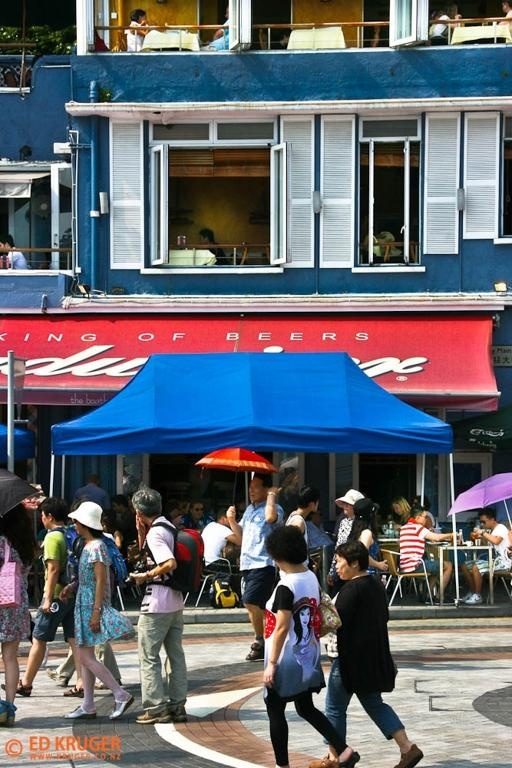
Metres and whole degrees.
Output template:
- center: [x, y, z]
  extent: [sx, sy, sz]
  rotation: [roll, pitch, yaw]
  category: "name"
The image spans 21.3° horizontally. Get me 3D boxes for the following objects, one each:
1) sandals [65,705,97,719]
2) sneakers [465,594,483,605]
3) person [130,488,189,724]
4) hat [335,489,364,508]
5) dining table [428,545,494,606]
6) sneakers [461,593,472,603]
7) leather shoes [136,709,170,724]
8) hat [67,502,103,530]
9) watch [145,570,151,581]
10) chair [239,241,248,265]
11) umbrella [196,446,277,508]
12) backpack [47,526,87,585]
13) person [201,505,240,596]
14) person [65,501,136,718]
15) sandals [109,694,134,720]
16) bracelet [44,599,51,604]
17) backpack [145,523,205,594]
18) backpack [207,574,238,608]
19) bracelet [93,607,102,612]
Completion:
- center: [-1.317, 2.549, 10.323]
  extent: [0.190, 0.078, 0.100]
  rotation: [6, -4, -1]
  category: "sandals"
- center: [2.623, 2.665, 16.385]
  extent: [0.244, 0.113, 0.087]
  rotation: [0, -7, 12]
  category: "sneakers"
- center: [-0.722, 1.703, 10.193]
  extent: [0.413, 1.773, 0.708]
  rotation: [0, -3, -3]
  category: "person"
- center: [0.872, 1.062, 12.209]
  extent: [0.288, 0.163, 0.206]
  rotation: [2, -8, -16]
  category: "hat"
- center: [2.548, 2.423, 16.670]
  extent: [0.665, 0.654, 0.675]
  rotation: [0, -9, 2]
  category: "dining table"
- center: [2.568, 2.675, 16.589]
  extent: [0.119, 0.143, 0.357]
  rotation: [-1, -4, 11]
  category: "sneakers"
- center: [-0.760, 2.535, 10.099]
  extent: [0.240, 0.118, 0.106]
  rotation: [3, -1, 0]
  category: "leather shoes"
- center: [-1.274, 1.028, 10.328]
  extent: [0.228, 0.127, 0.206]
  rotation: [31, 20, 14]
  category: "hat"
- center: [-0.776, 1.427, 9.904]
  extent: [0.042, 0.061, 0.056]
  rotation: [6, -26, 6]
  category: "watch"
- center: [-0.178, -2.008, 20.794]
  extent: [0.116, 0.343, 0.190]
  rotation: [0, -3, -1]
  category: "chair"
- center: [-0.230, 1.031, 15.301]
  extent: [0.525, 0.340, 0.523]
  rotation: [9, -15, -19]
  category: "umbrella"
- center: [-1.498, 1.442, 11.178]
  extent: [0.463, 0.503, 0.382]
  rotation: [-3, -7, 25]
  category: "backpack"
- center: [-0.458, 2.086, 16.478]
  extent: [0.608, 1.055, 0.418]
  rotation: [-7, 15, -30]
  category: "person"
- center: [-1.186, 1.767, 10.371]
  extent: [0.502, 1.674, 0.541]
  rotation: [0, -3, -7]
  category: "person"
- center: [-1.008, 2.536, 10.349]
  extent: [0.126, 0.277, 0.101]
  rotation: [23, 20, -13]
  category: "sandals"
- center: [-1.663, 1.785, 10.894]
  extent: [0.054, 0.053, 0.021]
  rotation: [1, -13, 8]
  category: "bracelet"
- center: [-0.583, 1.332, 10.281]
  extent: [0.598, 0.625, 0.379]
  rotation: [-1, 2, -15]
  category: "backpack"
- center: [-0.380, 2.541, 16.318]
  extent: [0.396, 0.431, 0.237]
  rotation: [3, -9, -36]
  category: "backpack"
- center: [-1.176, 1.719, 10.130]
  extent: [0.039, 0.019, 0.045]
  rotation: [1, 4, 0]
  category: "bracelet"
